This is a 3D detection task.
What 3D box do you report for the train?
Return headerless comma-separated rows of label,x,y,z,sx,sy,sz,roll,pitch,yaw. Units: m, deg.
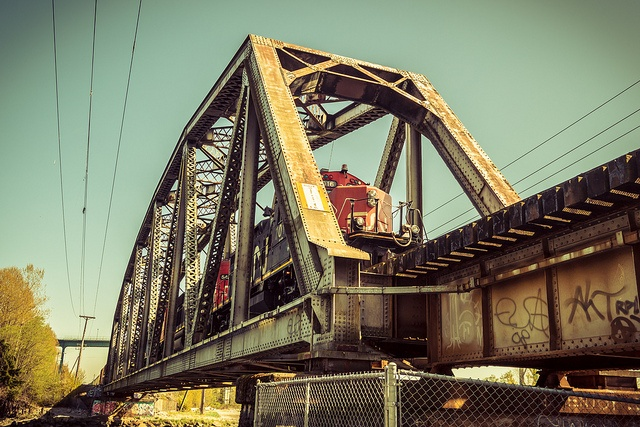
train,-4.317,4.266,26.512,5.158,7.130,22.767,15,-24,-32
